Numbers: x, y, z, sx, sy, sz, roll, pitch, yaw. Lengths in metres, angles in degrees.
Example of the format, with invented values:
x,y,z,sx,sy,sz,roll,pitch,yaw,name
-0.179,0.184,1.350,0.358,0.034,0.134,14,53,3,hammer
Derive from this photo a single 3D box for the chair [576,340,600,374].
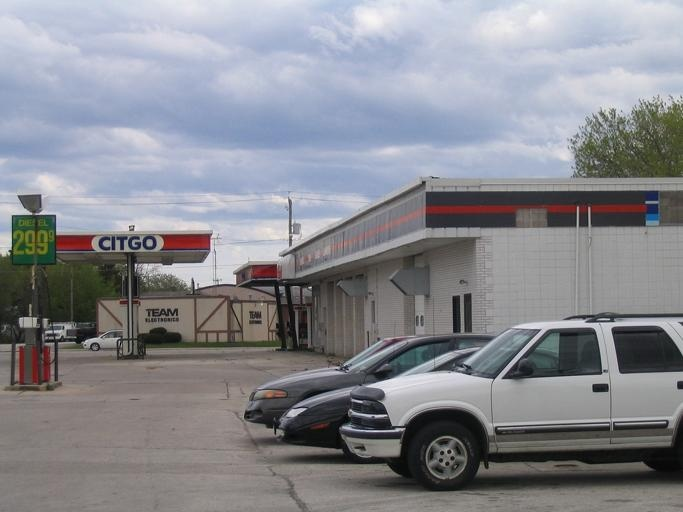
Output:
x,y,z,sx,sy,sz,roll,pitch,yaw,name
3.412,1.382,12.031,0.343,0.365,0.290,-6,-13,-42,chair
